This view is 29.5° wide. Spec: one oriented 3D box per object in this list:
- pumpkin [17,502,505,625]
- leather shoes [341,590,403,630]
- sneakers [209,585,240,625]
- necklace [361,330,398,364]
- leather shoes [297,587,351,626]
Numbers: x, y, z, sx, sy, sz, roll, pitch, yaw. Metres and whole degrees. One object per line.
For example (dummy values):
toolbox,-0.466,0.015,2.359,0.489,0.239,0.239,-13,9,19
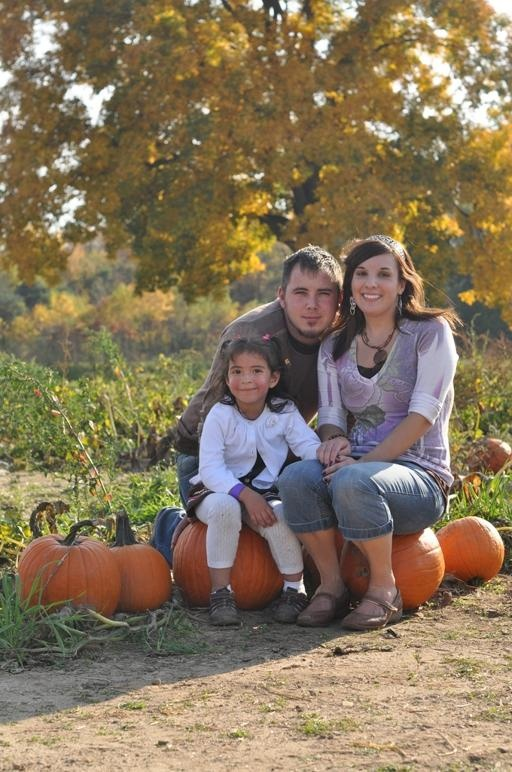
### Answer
pumpkin,0.024,0.760,4.220,2.058,0.448,0.598,-1,6,-13
leather shoes,0.469,0.904,3.933,0.110,0.104,0.257,-4,-6,43
sneakers,-0.135,0.911,4.081,0.124,0.134,0.182,-1,6,-5
necklace,0.553,-0.171,4.294,0.156,0.167,0.030,-2,-14,39
leather shoes,0.285,0.910,4.051,0.098,0.096,0.265,-1,2,36
